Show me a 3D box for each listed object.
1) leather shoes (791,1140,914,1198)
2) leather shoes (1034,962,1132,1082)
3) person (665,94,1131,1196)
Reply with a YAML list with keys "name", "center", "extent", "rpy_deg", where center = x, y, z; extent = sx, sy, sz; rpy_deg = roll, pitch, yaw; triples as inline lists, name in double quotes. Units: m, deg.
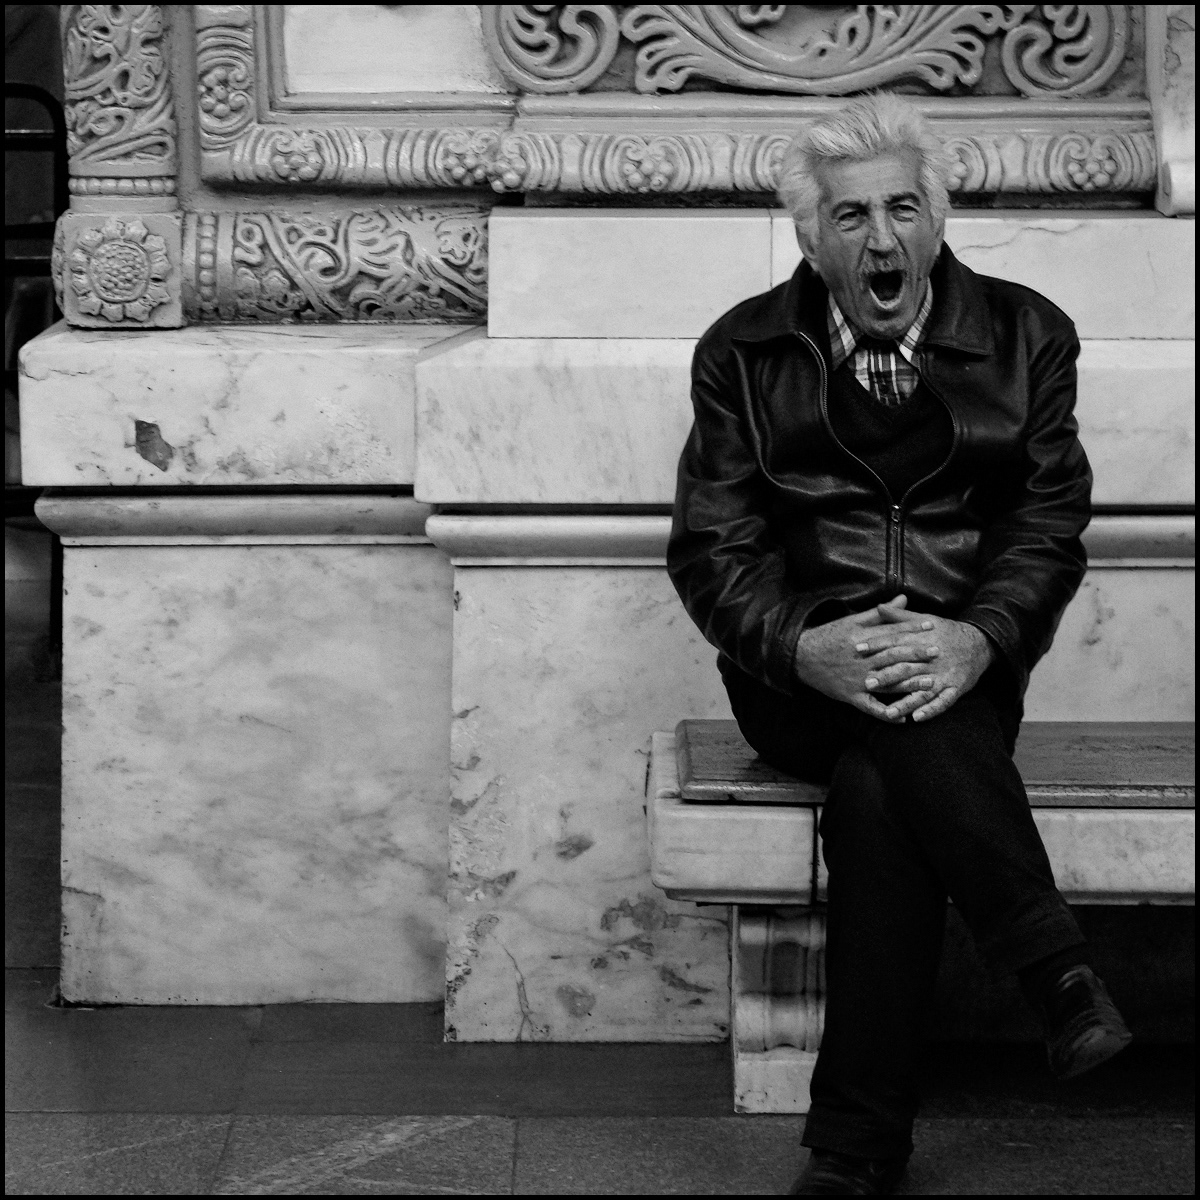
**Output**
- name: "leather shoes"
  center: [0.381, 0.910, 3.516]
  extent: [0.171, 0.083, 0.102]
  rpy_deg: [0, 11, 4]
- name: "leather shoes"
  center: [0.699, 0.625, 3.325]
  extent: [0.104, 0.120, 0.177]
  rpy_deg: [-34, -8, 2]
- name: "person"
  center: [0.432, 0.067, 3.619]
  extent: [0.690, 1.711, 0.702]
  rpy_deg: [1, 10, 7]
